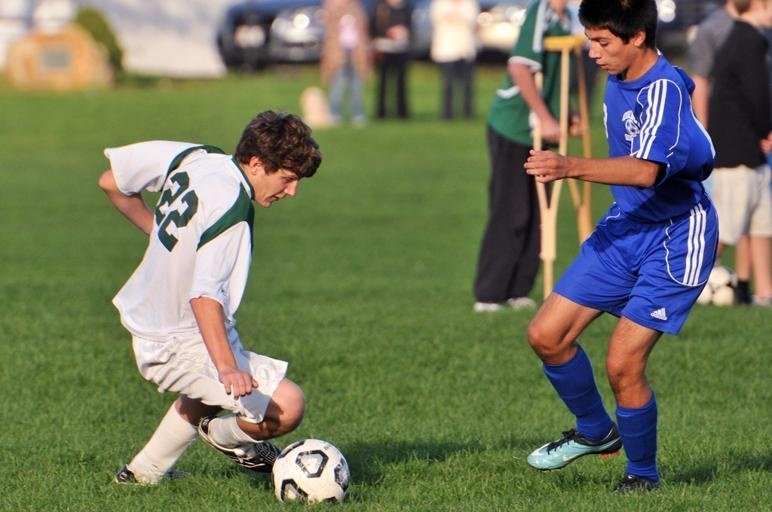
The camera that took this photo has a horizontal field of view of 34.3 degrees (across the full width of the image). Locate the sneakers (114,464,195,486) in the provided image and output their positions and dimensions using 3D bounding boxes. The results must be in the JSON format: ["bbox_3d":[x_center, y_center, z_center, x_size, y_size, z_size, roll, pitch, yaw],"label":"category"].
[{"bbox_3d":[-1.661,1.591,9.029,0.554,0.178,0.198,-1,4,-6],"label":"sneakers"}]

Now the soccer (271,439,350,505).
[{"bbox_3d":[-0.520,1.520,8.809,0.541,0.463,0.432,4,-24,-8],"label":"soccer"}]

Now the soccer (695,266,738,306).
[{"bbox_3d":[3.022,0.275,11.438,0.273,0.246,0.252,9,-40,-10],"label":"soccer"}]

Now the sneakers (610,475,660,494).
[{"bbox_3d":[1.784,1.616,8.956,0.333,0.126,0.140,0,-8,-2],"label":"sneakers"}]
